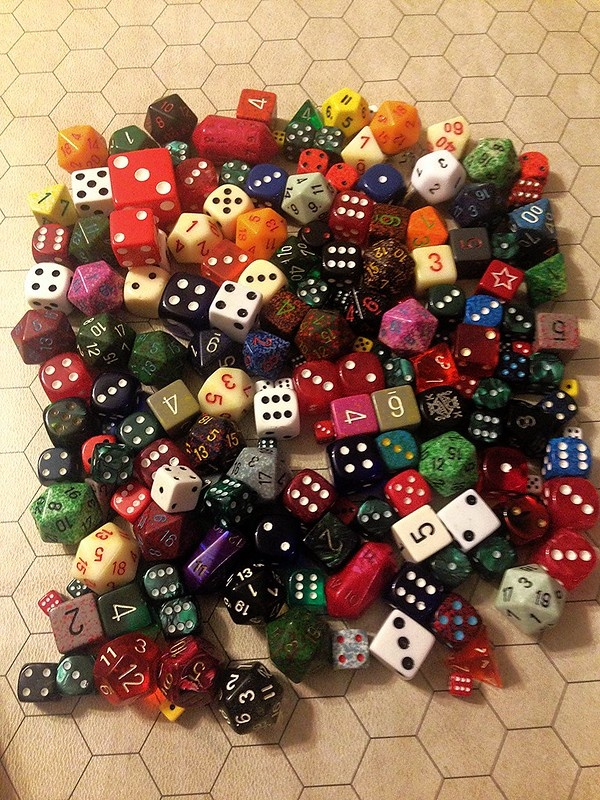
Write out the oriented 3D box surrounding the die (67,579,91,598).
[{"bbox_3d":[-0.988,0.855,3.167,0.123,0.086,0.079,10,69,1],"label":"die"}]
